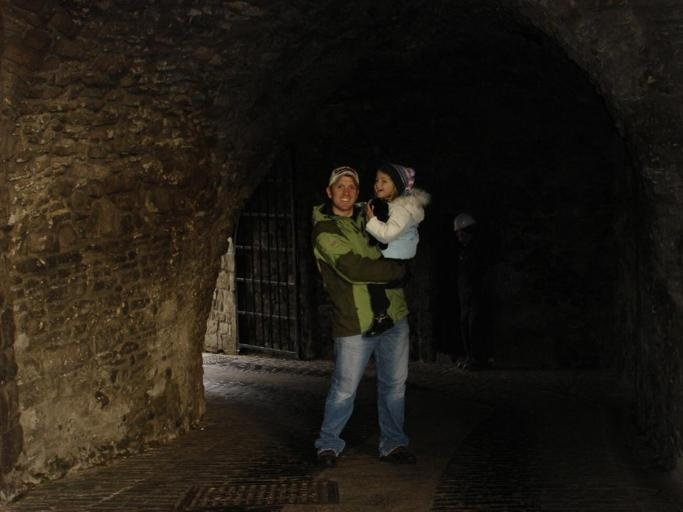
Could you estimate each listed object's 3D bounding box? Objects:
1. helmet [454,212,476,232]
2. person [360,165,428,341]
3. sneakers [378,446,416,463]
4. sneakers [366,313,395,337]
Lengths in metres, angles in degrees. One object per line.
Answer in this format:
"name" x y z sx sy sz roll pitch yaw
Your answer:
"helmet" 1.485 -0.411 8.012 0.252 0.189 0.199 8 14 36
"person" 0.441 -0.080 5.087 0.440 1.190 1.236 -1 3 5
"sneakers" 0.413 1.436 4.734 0.279 0.106 0.097 -4 -7 24
"sneakers" 0.258 0.483 4.539 0.201 0.119 0.083 -33 -7 -5
